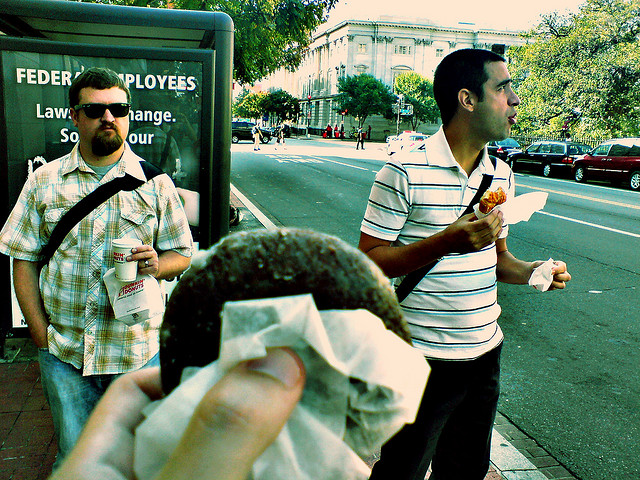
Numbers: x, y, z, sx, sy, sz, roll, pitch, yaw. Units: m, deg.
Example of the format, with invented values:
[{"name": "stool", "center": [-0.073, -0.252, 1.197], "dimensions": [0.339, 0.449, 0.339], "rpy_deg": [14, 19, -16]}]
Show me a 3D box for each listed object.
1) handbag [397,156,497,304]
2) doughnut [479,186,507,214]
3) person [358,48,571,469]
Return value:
[{"name": "handbag", "center": [0.628, -0.055, 2.656], "dimensions": [0.202, 0.636, 0.581], "rpy_deg": [13, 15, 43]}, {"name": "doughnut", "center": [0.768, -0.185, 2.602], "dimensions": [0.068, 0.089, 0.184], "rpy_deg": [18, 41, 40]}, {"name": "person", "center": [0.657, 0.104, 2.804], "dimensions": [0.907, 2.135, 0.785], "rpy_deg": [1, 1, 40]}]
